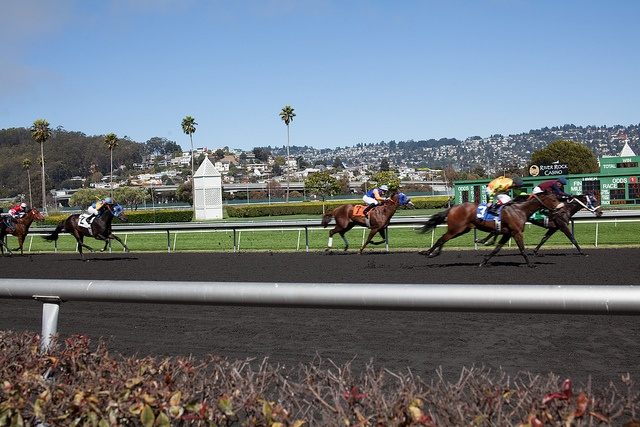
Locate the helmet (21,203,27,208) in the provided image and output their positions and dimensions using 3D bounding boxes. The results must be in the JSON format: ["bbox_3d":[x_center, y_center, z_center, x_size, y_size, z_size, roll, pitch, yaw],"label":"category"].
[{"bbox_3d":[-7.610,-0.236,16.794,0.158,0.135,0.133,-6,-7,27],"label":"helmet"}]

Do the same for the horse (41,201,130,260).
[{"bbox_3d":[-5.078,0.366,14.134,2.178,1.268,0.464,-1,2,21],"label":"horse"}]

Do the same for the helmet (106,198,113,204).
[{"bbox_3d":[-4.386,-0.272,13.573,0.159,0.134,0.299,-2,2,-18],"label":"helmet"}]

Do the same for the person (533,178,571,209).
[{"bbox_3d":[4.013,-0.393,11.414,1.016,0.374,0.394,-3,14,-34],"label":"person"}]

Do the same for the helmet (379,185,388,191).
[{"bbox_3d":[1.364,-0.565,14.144,0.267,0.083,0.258,0,0,5],"label":"helmet"}]

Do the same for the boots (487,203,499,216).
[{"bbox_3d":[2.745,-0.072,10.404,0.140,0.182,0.069,3,-4,14],"label":"boots"}]

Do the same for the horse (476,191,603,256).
[{"bbox_3d":[4.184,0.253,12.194,1.999,1.149,0.399,-7,12,3],"label":"horse"}]

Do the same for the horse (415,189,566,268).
[{"bbox_3d":[2.751,0.258,10.677,2.322,1.195,0.462,2,-6,14],"label":"horse"}]

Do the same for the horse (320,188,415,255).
[{"bbox_3d":[0.915,0.178,13.827,2.083,1.338,0.466,3,1,27],"label":"horse"}]
